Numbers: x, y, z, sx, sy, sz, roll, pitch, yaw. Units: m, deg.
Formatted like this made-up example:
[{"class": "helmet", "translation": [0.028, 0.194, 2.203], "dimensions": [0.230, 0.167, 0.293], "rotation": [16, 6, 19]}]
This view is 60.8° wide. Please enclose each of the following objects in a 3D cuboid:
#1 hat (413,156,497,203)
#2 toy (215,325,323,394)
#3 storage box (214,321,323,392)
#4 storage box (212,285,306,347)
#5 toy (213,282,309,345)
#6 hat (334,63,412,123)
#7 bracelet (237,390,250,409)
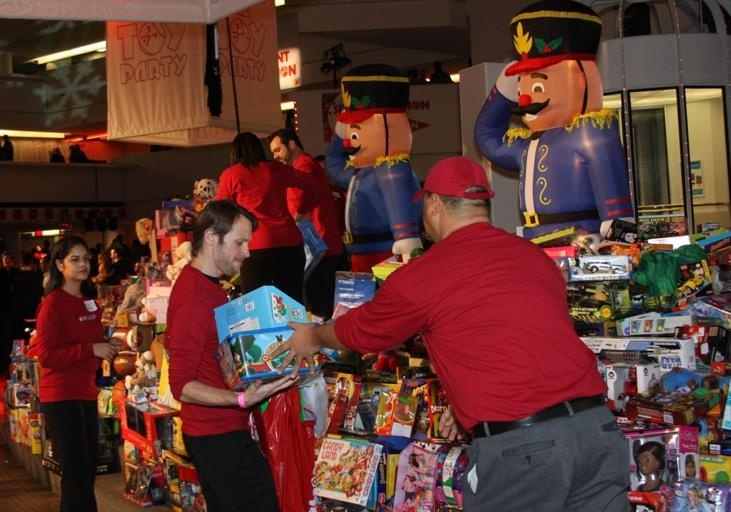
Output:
[{"class": "hat", "translation": [0.313, -0.283, 2.321], "dimensions": [0.160, 0.121, 0.215], "rotation": [-3, 10, -37]}, {"class": "toy", "translation": [-0.422, 0.402, 2.557], "dimensions": [0.264, 0.231, 0.402], "rotation": [-13, -7, 18]}, {"class": "storage box", "translation": [-0.400, 0.387, 2.517], "dimensions": [0.286, 0.199, 0.164], "rotation": [-3, 0, -31]}, {"class": "storage box", "translation": [-0.432, 0.278, 2.615], "dimensions": [0.348, 0.165, 0.355], "rotation": [-10, -21, -15]}, {"class": "toy", "translation": [-0.435, 0.230, 2.507], "dimensions": [0.272, 0.172, 0.270], "rotation": [-22, -5, -3]}, {"class": "hat", "translation": [0.072, -1.283, 5.046], "dimensions": [0.555, 0.418, 0.413], "rotation": [4, 7, 0]}, {"class": "bracelet", "translation": [-0.479, 0.575, 2.493], "dimensions": [0.039, 0.062, 0.065], "rotation": [-3, -19, 1]}]
